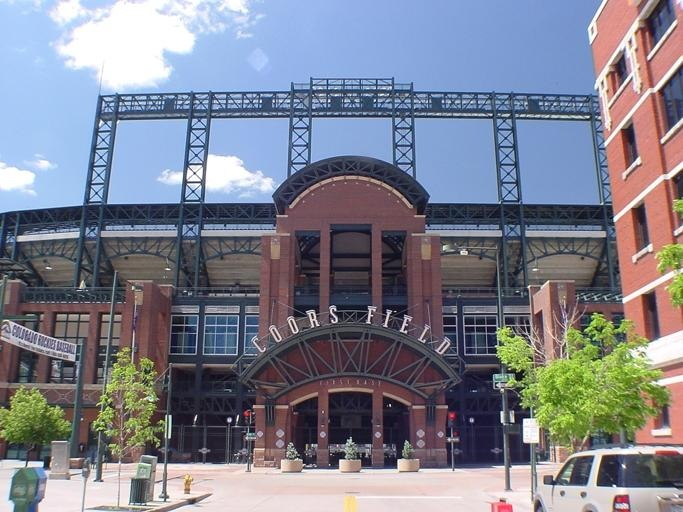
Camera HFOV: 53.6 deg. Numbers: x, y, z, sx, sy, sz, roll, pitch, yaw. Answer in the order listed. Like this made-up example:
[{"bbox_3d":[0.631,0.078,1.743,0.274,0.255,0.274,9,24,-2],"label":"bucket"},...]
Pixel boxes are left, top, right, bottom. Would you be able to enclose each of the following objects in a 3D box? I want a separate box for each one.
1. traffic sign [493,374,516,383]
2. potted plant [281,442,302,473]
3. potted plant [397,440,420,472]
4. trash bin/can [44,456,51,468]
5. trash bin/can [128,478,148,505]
[{"bbox_3d":[8.352,6.378,34.929,1.008,0.542,0.809,-6,-21,18],"label":"traffic sign"},{"bbox_3d":[-3.742,15.294,50.971,1.446,2.175,1.858,2,-20,-3],"label":"potted plant"},{"bbox_3d":[5.060,15.115,50.904,1.694,2.157,1.716,-9,-16,44],"label":"potted plant"},{"bbox_3d":[-19.894,14.095,45.913,0.377,0.775,0.958,10,-22,-23],"label":"trash bin/can"},{"bbox_3d":[-9.268,10.858,31.156,0.855,1.168,0.649,10,-23,-24],"label":"trash bin/can"}]
